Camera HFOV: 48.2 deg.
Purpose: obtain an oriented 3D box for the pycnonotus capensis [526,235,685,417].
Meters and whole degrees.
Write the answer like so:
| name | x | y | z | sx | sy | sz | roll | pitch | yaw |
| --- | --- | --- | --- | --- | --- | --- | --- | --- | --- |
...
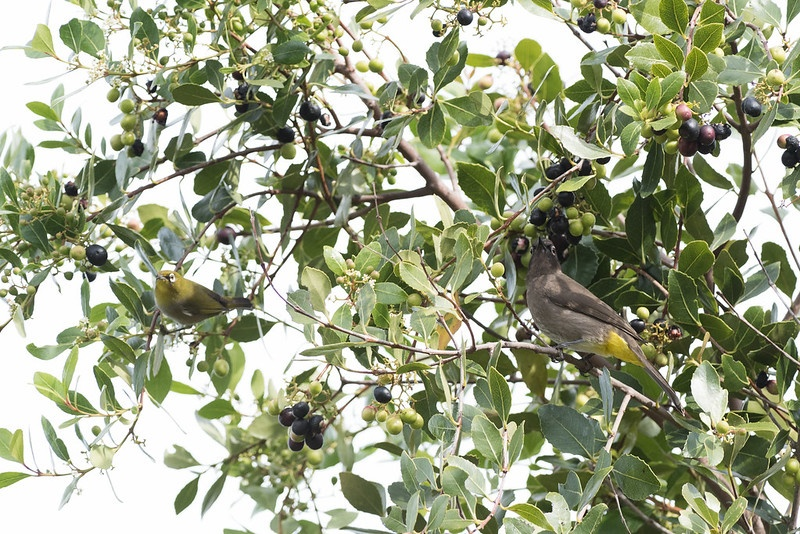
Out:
| name | x | y | z | sx | sy | sz | roll | pitch | yaw |
| --- | --- | --- | --- | --- | --- | --- | --- | --- | --- |
| pycnonotus capensis | 1.016 | 0.266 | 4.398 | 1.039 | 0.530 | 0.313 | 29 | -13 | 2 |
